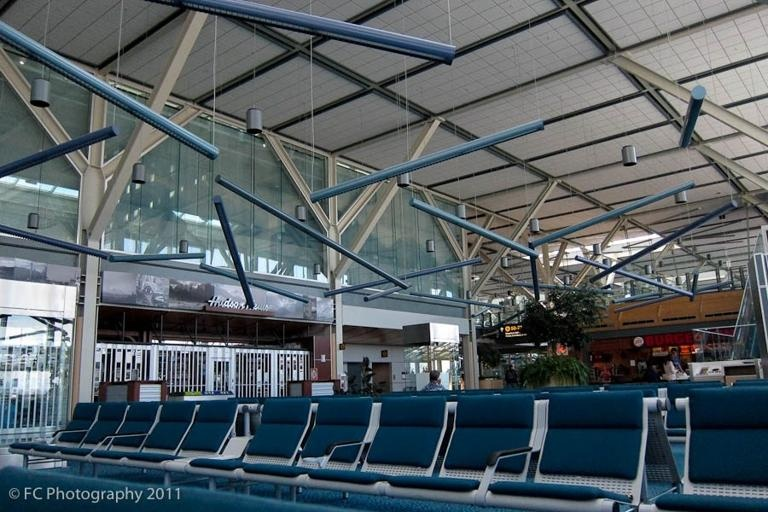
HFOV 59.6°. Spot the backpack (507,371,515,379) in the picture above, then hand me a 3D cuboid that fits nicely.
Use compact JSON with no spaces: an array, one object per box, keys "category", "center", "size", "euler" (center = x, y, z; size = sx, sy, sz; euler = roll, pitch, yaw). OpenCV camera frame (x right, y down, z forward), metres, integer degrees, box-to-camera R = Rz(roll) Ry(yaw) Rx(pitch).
[{"category":"backpack","center":[5.612,5.251,29.522],"size":[0.276,0.321,0.406],"euler":[2,20,1]}]
